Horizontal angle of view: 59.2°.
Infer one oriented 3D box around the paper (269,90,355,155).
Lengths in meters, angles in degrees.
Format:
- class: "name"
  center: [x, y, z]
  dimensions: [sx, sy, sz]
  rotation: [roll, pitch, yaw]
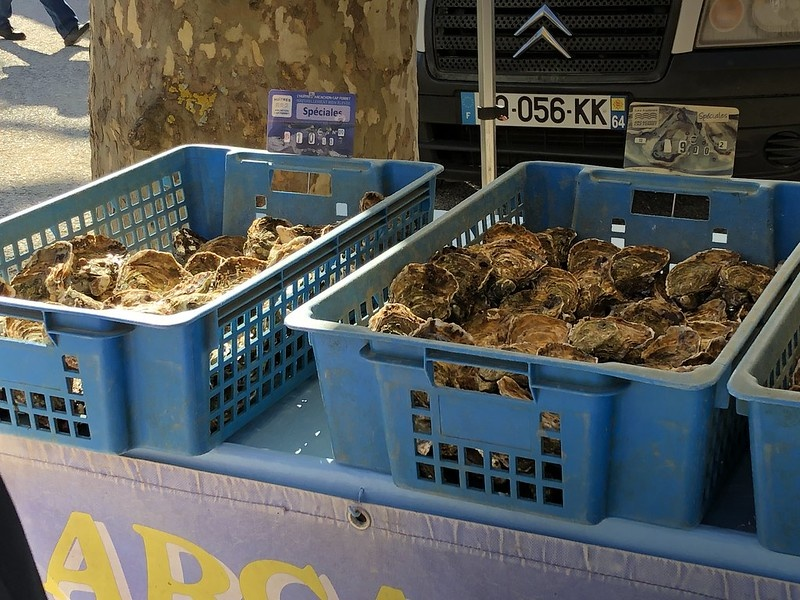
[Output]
- class: "paper"
  center: [-0.201, -0.407, 1.605]
  dimensions: [0.156, 0.105, 0.003]
  rotation: [6, 17, 14]
